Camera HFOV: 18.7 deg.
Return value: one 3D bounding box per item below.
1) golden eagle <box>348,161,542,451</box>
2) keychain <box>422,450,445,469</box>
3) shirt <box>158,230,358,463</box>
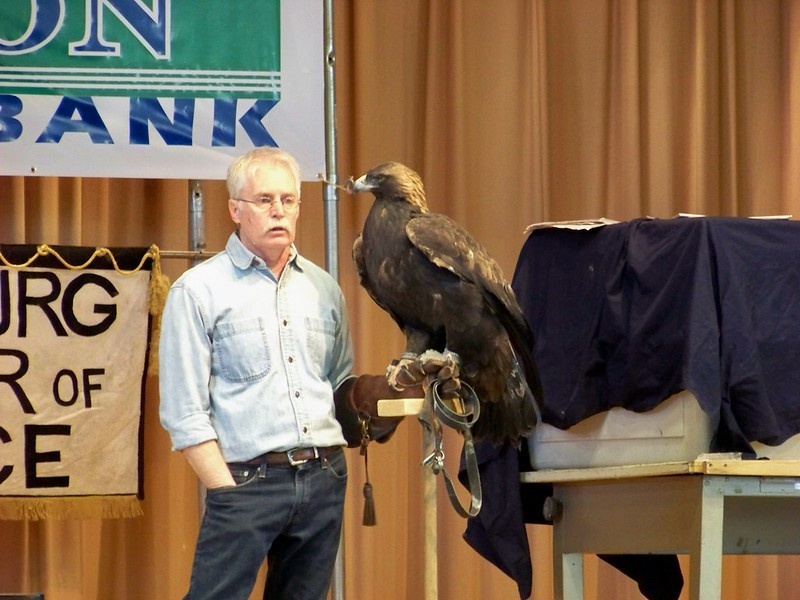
[{"bbox_3d":[0.129,-0.028,8.169,0.696,0.859,0.408,10,-17,-42],"label":"golden eagle"},{"bbox_3d":[0.112,0.518,7.842,0.057,0.051,0.050,-7,-25,-3],"label":"keychain"},{"bbox_3d":[-0.438,0.155,8.034,0.745,0.786,0.398,0,-8,-35],"label":"shirt"}]
